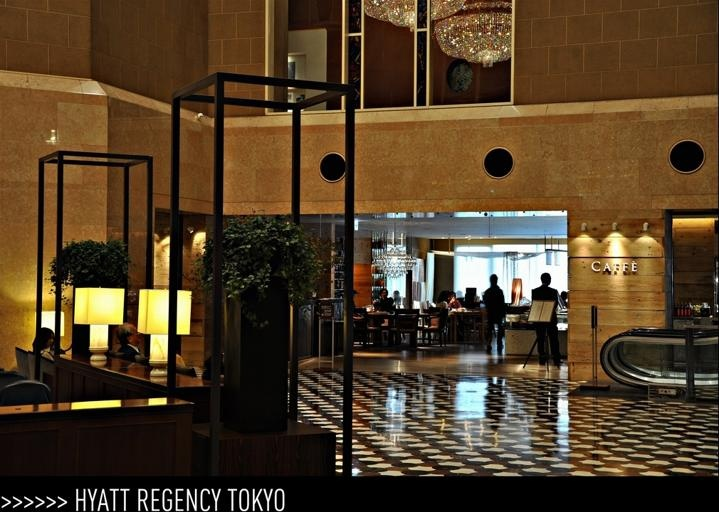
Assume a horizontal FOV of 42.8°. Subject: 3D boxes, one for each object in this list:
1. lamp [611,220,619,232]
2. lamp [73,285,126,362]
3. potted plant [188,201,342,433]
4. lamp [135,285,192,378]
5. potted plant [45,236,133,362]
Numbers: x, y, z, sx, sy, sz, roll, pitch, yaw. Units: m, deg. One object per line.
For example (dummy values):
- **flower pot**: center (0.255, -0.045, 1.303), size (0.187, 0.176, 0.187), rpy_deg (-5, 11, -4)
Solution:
- **lamp**: center (4.537, -0.514, 16.320), size (0.103, 0.137, 0.045), rpy_deg (-1, -4, -12)
- **lamp**: center (-3.519, 0.910, 12.451), size (0.692, 1.029, 0.721), rpy_deg (5, 4, 9)
- **potted plant**: center (-1.082, 0.717, 10.317), size (1.763, 2.745, 1.696), rpy_deg (1, -3, 0)
- **lamp**: center (-2.339, 0.878, 10.924), size (0.615, 1.094, 0.663), rpy_deg (5, 1, -4)
- **potted plant**: center (-3.969, 0.658, 13.695), size (1.462, 2.292, 1.473), rpy_deg (1, -3, -25)
